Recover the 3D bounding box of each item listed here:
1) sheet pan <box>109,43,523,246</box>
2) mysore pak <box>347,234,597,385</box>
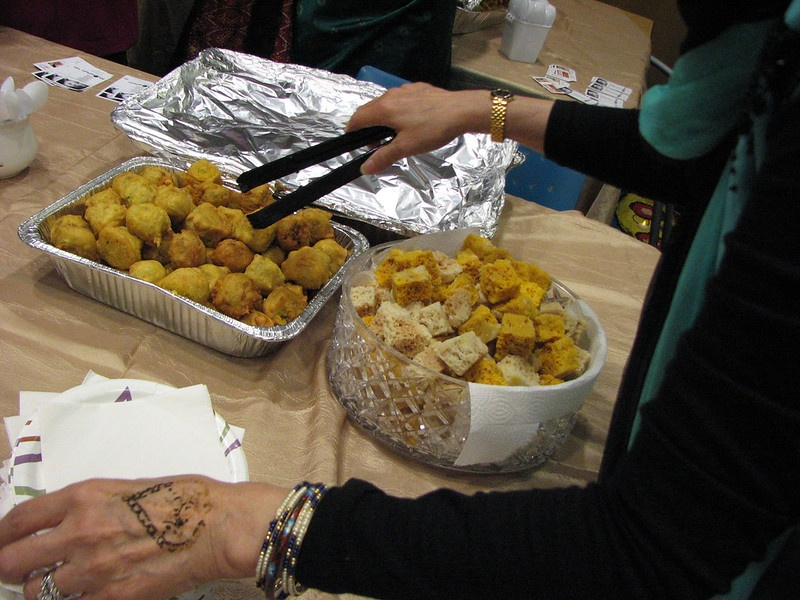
[{"bbox_3d":[-0.276,-0.446,2.009,1.189,0.209,0.714,20,46,4],"label":"sheet pan"},{"bbox_3d":[0.159,0.068,1.278,0.383,0.125,0.346,21,26,-3],"label":"mysore pak"}]
